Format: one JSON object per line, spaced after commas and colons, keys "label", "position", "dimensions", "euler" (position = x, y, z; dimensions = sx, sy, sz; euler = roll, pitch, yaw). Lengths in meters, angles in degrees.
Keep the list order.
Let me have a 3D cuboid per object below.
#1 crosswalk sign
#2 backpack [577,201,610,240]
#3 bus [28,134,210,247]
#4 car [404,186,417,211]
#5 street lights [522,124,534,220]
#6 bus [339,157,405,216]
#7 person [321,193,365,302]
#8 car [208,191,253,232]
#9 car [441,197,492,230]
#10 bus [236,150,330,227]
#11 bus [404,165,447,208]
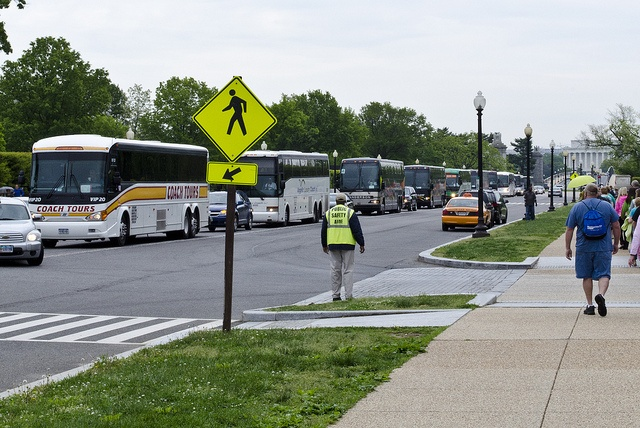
{"label": "crosswalk sign", "position": [-1.268, -1.492, 14.076], "dimensions": [1.377, 1.246, 0.048], "euler": [5, 5, 25]}
{"label": "backpack", "position": [4.831, 0.115, 15.863], "dimensions": [0.473, 0.665, 0.427], "euler": [-2, 1, 18]}
{"label": "bus", "position": [-7.214, -0.964, 34.799], "dimensions": [3.303, 3.451, 10.105], "euler": [3, 3, 14]}
{"label": "car", "position": [7.192, -1.240, 70.935], "dimensions": [0.940, 1.795, 4.085], "euler": [0, 2, 5]}
{"label": "street lights", "position": [11.276, -2.715, 48.482], "dimensions": [0.840, 4.307, 0.821], "euler": [0, -1, 16]}
{"label": "bus", "position": [3.336, -1.733, 56.658], "dimensions": [3.251, 4.032, 11.651], "euler": [0, 0, 15]}
{"label": "person", "position": [0.506, 0.657, 18.591], "dimensions": [0.870, 2.138, 0.964], "euler": [0, -1, -6]}
{"label": "car", "position": [-4.394, -0.215, 42.213], "dimensions": [1.898, 1.725, 3.934], "euler": [1, 1, 12]}
{"label": "car", "position": [7.085, -0.272, 41.847], "dimensions": [2.152, 1.536, 4.850], "euler": [2, 7, 22]}
{"label": "bus", "position": [-1.754, -1.126, 42.485], "dimensions": [3.347, 3.992, 12.728], "euler": [-1, 0, 9]}
{"label": "bus", "position": [9.409, -2.477, 80.831], "dimensions": [3.116, 3.600, 8.903], "euler": [1, 2, 16]}
